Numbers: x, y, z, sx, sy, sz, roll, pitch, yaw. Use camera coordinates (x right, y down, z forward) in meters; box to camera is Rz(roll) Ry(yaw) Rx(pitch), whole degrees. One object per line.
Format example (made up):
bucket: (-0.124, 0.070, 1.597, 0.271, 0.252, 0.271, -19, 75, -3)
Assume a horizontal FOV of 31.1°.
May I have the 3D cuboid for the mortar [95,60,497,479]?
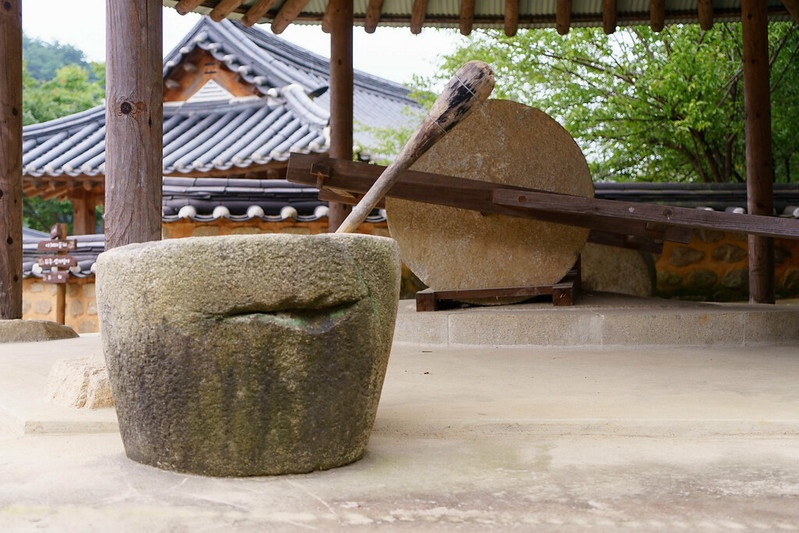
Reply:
mortar: (-0.719, 0.020, 11.975, 3.744, 3.104, 2.734, -5, -7, 43)
